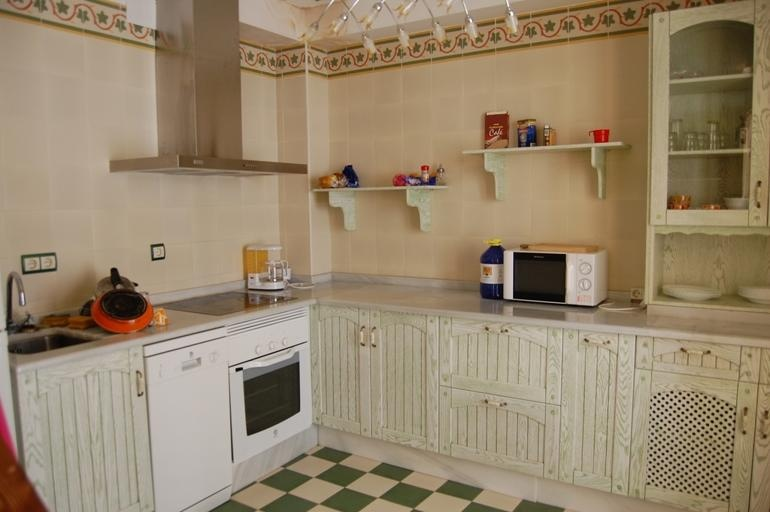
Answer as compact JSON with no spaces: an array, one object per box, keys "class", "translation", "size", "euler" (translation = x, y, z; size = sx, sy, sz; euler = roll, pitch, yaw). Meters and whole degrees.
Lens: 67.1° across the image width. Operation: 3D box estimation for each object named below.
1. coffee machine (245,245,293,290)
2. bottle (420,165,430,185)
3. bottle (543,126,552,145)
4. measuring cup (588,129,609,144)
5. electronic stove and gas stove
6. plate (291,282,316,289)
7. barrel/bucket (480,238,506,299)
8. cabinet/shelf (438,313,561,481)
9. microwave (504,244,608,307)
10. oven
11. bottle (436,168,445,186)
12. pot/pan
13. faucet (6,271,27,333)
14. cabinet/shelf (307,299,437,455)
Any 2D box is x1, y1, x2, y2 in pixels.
[{"class":"coffee machine","translation":[-0.937,0.097,4.488],"size":[0.311,0.293,0.219],"euler":[0,5,17]},{"class":"bottle","translation":[0.297,-0.598,4.283],"size":[0.080,0.138,0.141],"euler":[-2,8,5]},{"class":"bottle","translation":[1.079,-0.799,3.841],"size":[0.051,0.130,0.057],"euler":[-1,8,11]},{"class":"measuring cup","translation":[1.345,-0.746,3.681],"size":[0.123,0.079,0.102],"euler":[-1,8,9]},{"class":"electronic stove and gas stove","translation":[-0.976,0.425,3.901],"size":[0.572,0.219,0.526],"euler":[3,8,29]},{"class":"plate","translation":[-0.654,0.228,4.476],"size":[0.207,0.027,0.250],"euler":[-3,8,-5]},{"class":"barrel/bucket","translation":[0.722,0.091,3.924],"size":[0.162,0.390,0.177],"euler":[-3,8,0]},{"class":"cabinet/shelf","translation":[0.810,0.841,3.775],"size":[0.798,0.903,0.580],"euler":[1,4,27]},{"class":"microwave","translation":[1.117,0.123,3.849],"size":[0.603,0.351,0.378],"euler":[2,8,30]},{"class":"oven","translation":[-0.987,0.990,3.991],"size":[0.690,0.914,0.768],"euler":[1,5,40]},{"class":"bottle","translation":[0.406,-0.595,4.265],"size":[0.079,0.138,0.101],"euler":[-2,8,6]},{"class":"pot/pan","translation":[-1.550,0.254,3.364],"size":[0.323,0.328,0.378],"euler":[-7,9,-31]},{"class":"faucet","translation":[-2.050,0.256,3.206],"size":[0.102,0.344,0.376],"euler":[-8,9,-33]},{"class":"cabinet/shelf","translation":[0.000,0.805,4.074],"size":[1.025,0.925,0.417],"euler":[2,5,30]}]
